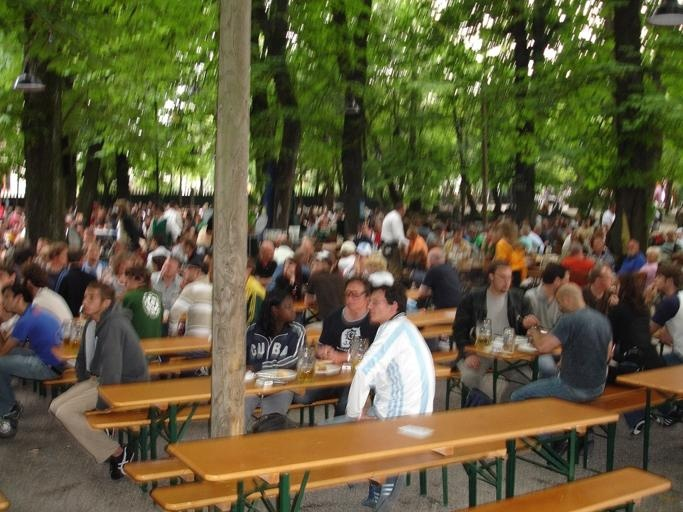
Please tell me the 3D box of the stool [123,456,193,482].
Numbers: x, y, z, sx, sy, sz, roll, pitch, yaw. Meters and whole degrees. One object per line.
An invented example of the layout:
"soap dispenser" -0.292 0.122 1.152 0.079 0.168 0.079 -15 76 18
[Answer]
"stool" -1.700 1.981 5.899 0.600 0.138 0.357 2 5 -29

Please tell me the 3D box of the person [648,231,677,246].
"person" 10.643 -0.578 21.193 0.715 0.297 0.230 -4 30 -21

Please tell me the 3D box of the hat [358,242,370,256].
"hat" 0.422 -0.074 12.830 0.234 0.240 0.239 18 32 4

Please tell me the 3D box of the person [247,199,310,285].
"person" -1.572 -0.399 15.052 0.892 2.993 0.972 18 49 15

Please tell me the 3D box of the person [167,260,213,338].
"person" -2.304 0.626 9.620 0.594 1.184 1.481 -1 2 -16

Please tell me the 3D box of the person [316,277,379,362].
"person" 0.097 0.847 7.786 0.780 1.178 0.600 6 -1 31

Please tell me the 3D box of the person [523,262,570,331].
"person" 3.071 0.615 9.579 0.377 1.216 0.406 28 38 27
